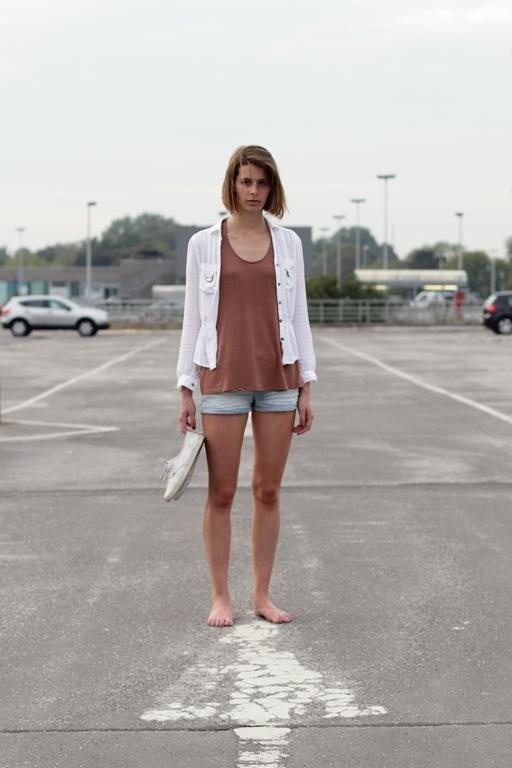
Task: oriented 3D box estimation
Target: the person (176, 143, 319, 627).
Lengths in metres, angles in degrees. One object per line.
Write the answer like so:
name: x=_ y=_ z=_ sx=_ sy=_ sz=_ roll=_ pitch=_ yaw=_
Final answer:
person: x=-0.035 y=0.008 z=4.097 sx=0.526 sy=1.805 sz=0.317 roll=-1 pitch=4 yaw=-6
